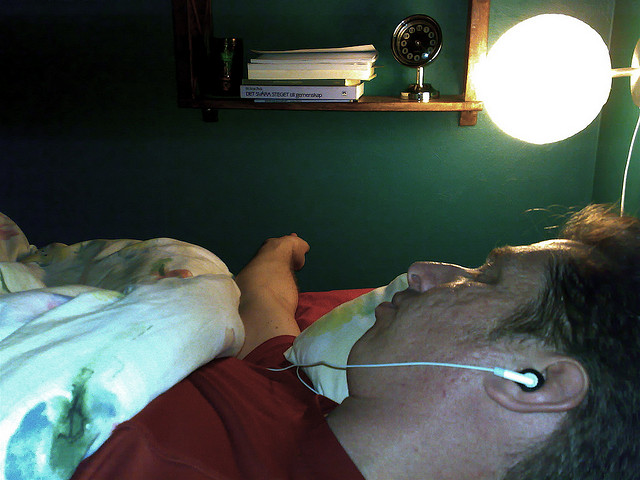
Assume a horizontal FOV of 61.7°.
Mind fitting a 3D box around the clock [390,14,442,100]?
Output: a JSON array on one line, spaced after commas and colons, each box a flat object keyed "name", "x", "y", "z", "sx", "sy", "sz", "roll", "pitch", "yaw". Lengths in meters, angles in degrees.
[{"name": "clock", "x": 0.328, "y": -0.597, "z": 1.745, "sx": 0.202, "sy": 0.273, "sz": 0.169, "roll": -4, "pitch": 12, "yaw": 1}]
